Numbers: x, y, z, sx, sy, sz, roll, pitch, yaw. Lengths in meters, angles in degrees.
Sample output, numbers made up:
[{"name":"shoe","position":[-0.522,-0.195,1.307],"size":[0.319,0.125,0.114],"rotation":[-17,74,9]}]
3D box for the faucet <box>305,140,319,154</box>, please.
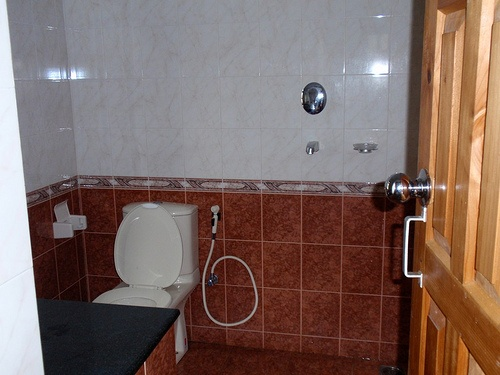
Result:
[{"name":"faucet","position":[0.366,-0.236,2.423],"size":[0.074,0.077,0.296],"rotation":[0,4,12]}]
